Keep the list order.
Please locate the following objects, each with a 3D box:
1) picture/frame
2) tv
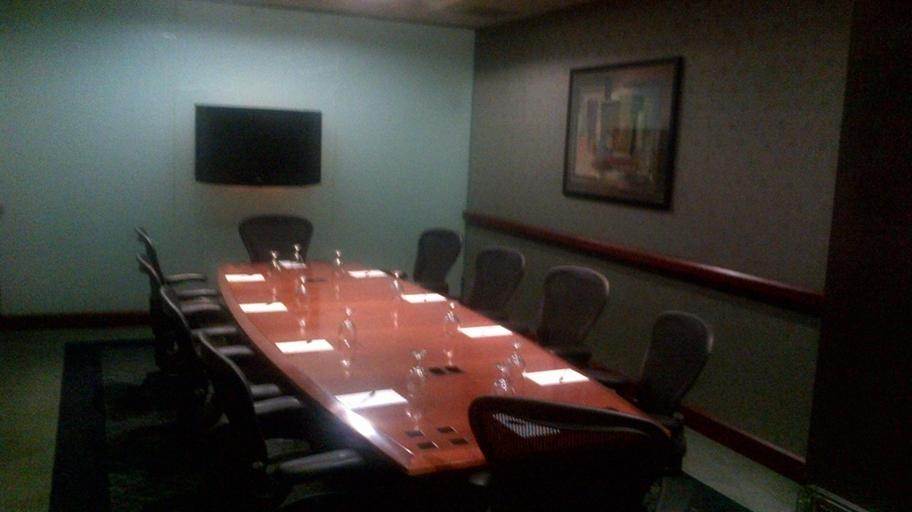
[{"bbox_3d":[1.770,-1.339,6.731,0.077,1.507,1.548,-9,16,-31],"label":"picture/frame"},{"bbox_3d":[-2.666,-1.448,7.914,1.210,0.718,0.122,0,12,-10],"label":"tv"}]
